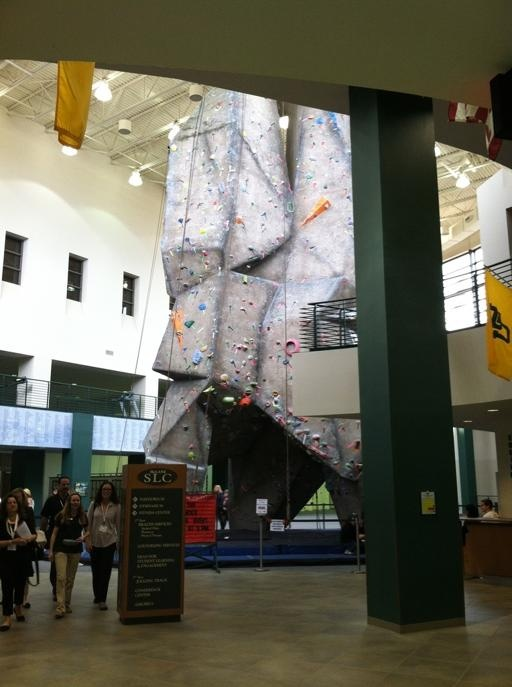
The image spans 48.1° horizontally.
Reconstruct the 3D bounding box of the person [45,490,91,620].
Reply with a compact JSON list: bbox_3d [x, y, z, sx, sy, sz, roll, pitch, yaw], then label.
[{"bbox_3d":[-1.997,2.221,6.098,0.374,1.207,0.623,3,-9,-19],"label":"person"}]

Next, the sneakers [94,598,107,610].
[{"bbox_3d":[-1.717,2.871,6.339,0.094,0.067,0.253,6,-15,-20],"label":"sneakers"}]

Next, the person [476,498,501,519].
[{"bbox_3d":[3.989,2.865,9.834,0.228,0.342,1.399,-3,-8,20],"label":"person"}]
